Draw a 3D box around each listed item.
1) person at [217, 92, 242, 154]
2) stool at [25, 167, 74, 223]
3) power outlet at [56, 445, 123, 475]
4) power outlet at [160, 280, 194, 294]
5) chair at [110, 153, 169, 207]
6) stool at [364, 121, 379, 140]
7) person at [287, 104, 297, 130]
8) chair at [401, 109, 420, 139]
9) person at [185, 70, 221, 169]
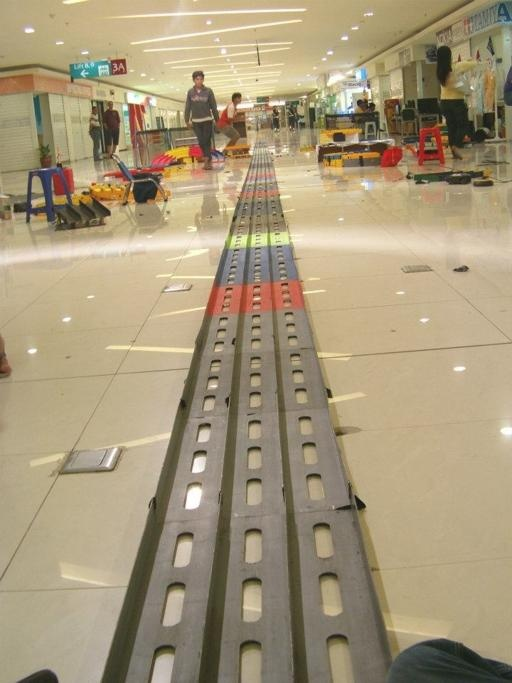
[{"bbox_3d":[-0.686,-6.249,14.102,1.025,1.711,1.051,0,16,-5],"label":"person"},{"bbox_3d":[-2.699,-1.865,6.283,0.514,0.591,0.537,-6,13,4],"label":"stool"},{"bbox_3d":[-0.432,0.313,1.272,0.154,0.010,0.124,-6,17,2],"label":"power outlet"},{"bbox_3d":[-0.472,-0.315,2.906,0.201,0.022,0.154,-2,23,2],"label":"power outlet"},{"bbox_3d":[-1.653,-2.267,6.999,0.613,0.861,0.502,-11,-5,-9],"label":"chair"},{"bbox_3d":[4.019,-7.433,17.147,0.462,0.656,1.018,-2,17,14],"label":"stool"},{"bbox_3d":[2.316,-14.095,30.989,0.445,1.313,1.741,-4,17,6],"label":"person"},{"bbox_3d":[5.228,-7.451,16.578,0.514,0.932,0.915,0,17,19],"label":"chair"},{"bbox_3d":[-1.181,-4.750,10.452,0.674,1.825,1.242,-7,16,-4],"label":"person"}]
